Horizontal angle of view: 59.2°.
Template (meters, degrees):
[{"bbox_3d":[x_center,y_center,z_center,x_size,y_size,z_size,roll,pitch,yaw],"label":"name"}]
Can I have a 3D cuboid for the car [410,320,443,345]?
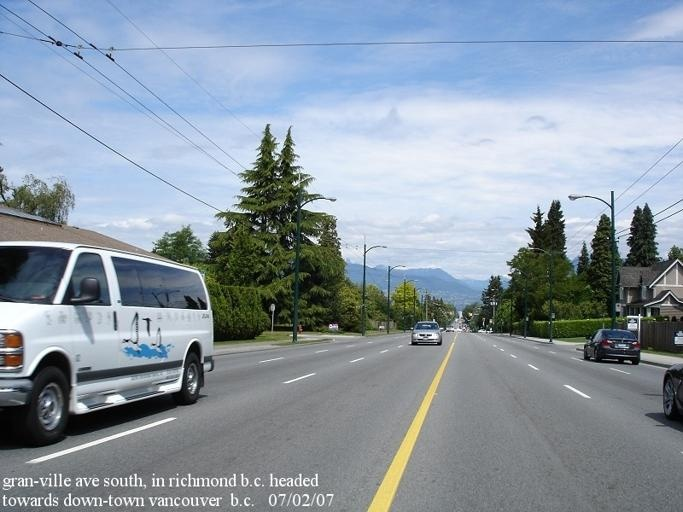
[{"bbox_3d":[5.983,5.373,41.779,1.921,1.544,2.935,1,-4,6],"label":"car"}]
